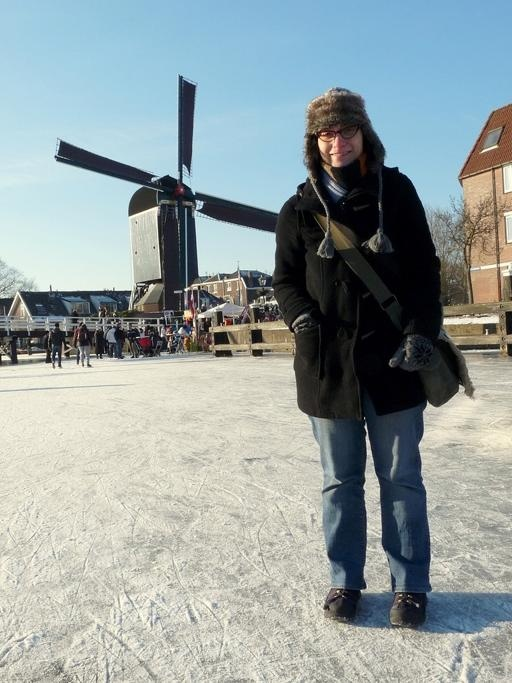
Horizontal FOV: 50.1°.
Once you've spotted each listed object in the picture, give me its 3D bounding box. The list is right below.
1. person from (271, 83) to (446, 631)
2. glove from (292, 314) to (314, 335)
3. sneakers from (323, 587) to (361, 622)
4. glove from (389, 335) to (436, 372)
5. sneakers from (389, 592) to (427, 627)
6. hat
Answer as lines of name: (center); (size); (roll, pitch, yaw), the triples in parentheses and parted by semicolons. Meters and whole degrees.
person: (0.320, -0.001, 1.842); (0.594, 1.491, 0.382); (-2, 1, 19)
glove: (0.161, -0.055, 1.869); (0.056, 0.032, 0.076); (-16, -7, -23)
sneakers: (0.275, 0.846, 1.756); (0.094, 0.080, 0.150); (-2, 1, 22)
glove: (0.501, 0.036, 1.739); (0.144, 0.090, 0.067); (-3, 1, 8)
sneakers: (0.479, 0.833, 1.707); (0.106, 0.075, 0.144); (-2, 1, 18)
hat: (0.309, -0.742, 1.984); (0.277, 0.332, 0.236); (-4, 8, 22)
